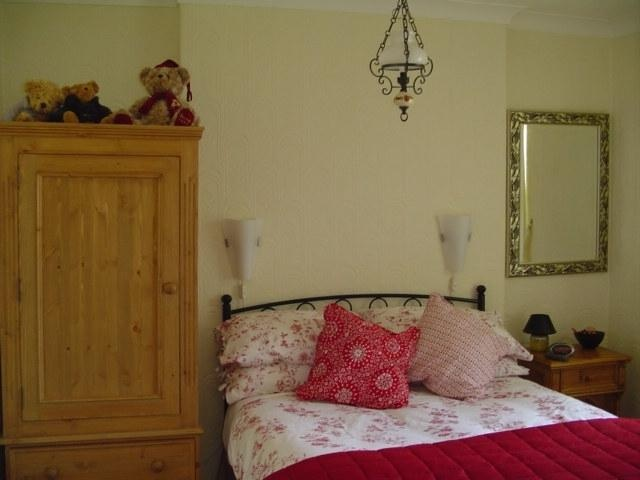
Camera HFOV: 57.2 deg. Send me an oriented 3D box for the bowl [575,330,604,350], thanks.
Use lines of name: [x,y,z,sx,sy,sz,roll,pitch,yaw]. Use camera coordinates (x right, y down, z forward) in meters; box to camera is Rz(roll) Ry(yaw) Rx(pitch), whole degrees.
bowl: [1.844,0.671,4.002,0.152,0.106,0.160,1,-12,0]

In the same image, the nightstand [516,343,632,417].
nightstand: [1.718,1.047,3.975,0.524,0.572,0.402,-3,4,-1]

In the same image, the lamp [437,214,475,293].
lamp: [0.877,0.106,3.878,0.198,0.542,0.101,-2,7,-5]

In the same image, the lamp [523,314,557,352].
lamp: [1.488,0.624,3.988,0.210,0.253,0.214,0,-3,31]

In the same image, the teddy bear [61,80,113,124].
teddy bear: [-1.233,-0.704,3.094,0.253,0.247,0.148,-5,17,-36]

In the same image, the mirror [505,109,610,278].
mirror: [1.649,-0.356,4.167,1.111,1.633,0.059,1,-2,-13]
